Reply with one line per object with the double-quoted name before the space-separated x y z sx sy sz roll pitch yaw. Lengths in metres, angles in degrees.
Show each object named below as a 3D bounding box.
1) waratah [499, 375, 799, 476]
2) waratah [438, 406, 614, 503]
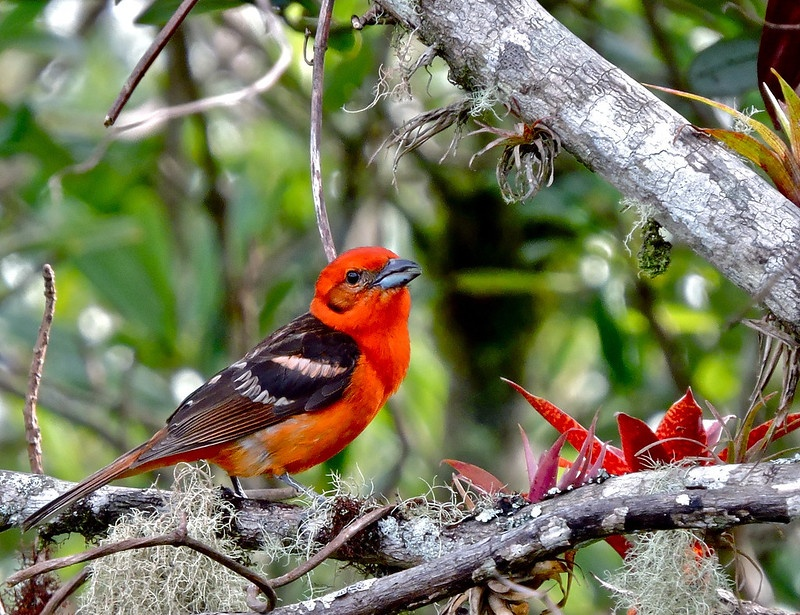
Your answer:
"waratah" 0.794 0.420 3.109 0.497 0.191 0.541 -6 -9 44
"waratah" 0.451 0.523 3.125 0.384 0.167 0.378 -12 -1 -2
